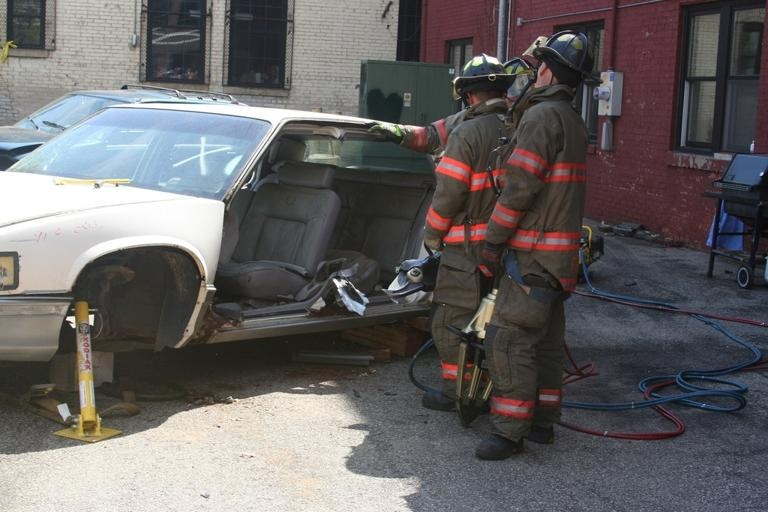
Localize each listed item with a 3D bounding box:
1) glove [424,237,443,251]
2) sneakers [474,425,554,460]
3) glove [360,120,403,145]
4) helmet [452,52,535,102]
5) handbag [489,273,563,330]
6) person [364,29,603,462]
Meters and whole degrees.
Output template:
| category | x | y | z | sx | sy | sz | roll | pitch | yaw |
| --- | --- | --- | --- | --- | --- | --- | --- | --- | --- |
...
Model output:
| category | x | y | z | sx | sy | sz | roll | pitch | yaw |
| --- | --- | --- | --- | --- | --- | --- | --- | --- | --- |
| glove | 0.372 | -0.081 | 5.211 | 0.113 | 0.091 | 0.083 | 31 | 8 | 14 |
| sneakers | 0.892 | 1.226 | 4.846 | 0.614 | 0.206 | 0.190 | -2 | 7 | -26 |
| glove | -0.010 | -1.054 | 6.042 | 0.277 | 0.123 | 0.326 | 4 | 5 | -21 |
| helmet | 0.800 | -1.343 | 5.349 | 0.615 | 0.275 | 0.414 | -11 | 0 | 15 |
| handbag | 0.920 | 0.310 | 4.768 | 0.474 | 0.289 | 0.349 | 17 | -3 | -18 |
| person | 0.981 | -0.070 | 4.727 | 0.638 | 2.766 | 0.946 | 8 | 15 | 16 |
